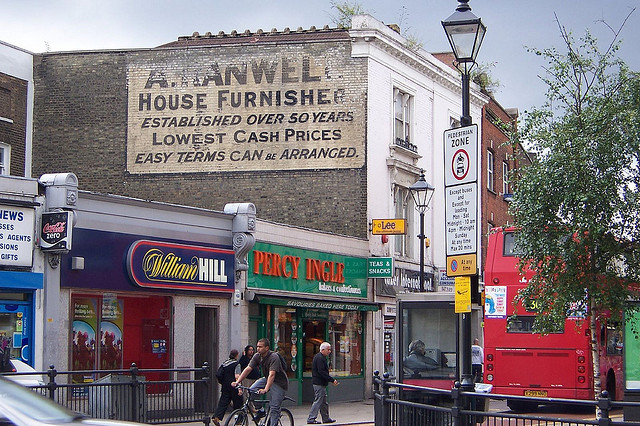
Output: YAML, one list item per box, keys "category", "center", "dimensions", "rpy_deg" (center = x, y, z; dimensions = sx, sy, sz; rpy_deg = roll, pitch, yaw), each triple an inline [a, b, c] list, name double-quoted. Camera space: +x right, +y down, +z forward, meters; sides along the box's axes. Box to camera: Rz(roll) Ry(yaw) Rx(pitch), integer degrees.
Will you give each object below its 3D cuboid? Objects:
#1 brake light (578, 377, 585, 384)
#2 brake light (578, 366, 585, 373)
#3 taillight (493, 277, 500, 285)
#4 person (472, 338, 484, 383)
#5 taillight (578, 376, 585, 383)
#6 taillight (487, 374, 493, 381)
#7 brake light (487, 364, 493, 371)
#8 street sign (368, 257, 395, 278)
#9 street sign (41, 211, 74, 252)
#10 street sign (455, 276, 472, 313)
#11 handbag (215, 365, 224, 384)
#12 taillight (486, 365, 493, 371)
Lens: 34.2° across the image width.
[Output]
- category: "brake light"
  center: [8.242, 5.292, 32.802]
  dimensions: [0.188, 0.201, 0.057]
  rpy_deg: [0, -2, 16]
- category: "brake light"
  center: [8.255, 4.968, 32.856]
  dimensions: [0.201, 0.207, 0.049]
  rpy_deg: [2, 0, 12]
- category: "taillight"
  center: [5.651, 2.186, 33.486]
  dimensions: [0.162, 0.169, 0.055]
  rpy_deg: [-19, -10, 22]
- category: "person"
  center: [5.772, 5.518, 38.139]
  dimensions: [0.385, 1.397, 1.605]
  rpy_deg: [-2, -13, 7]
- category: "taillight"
  center: [8.248, 5.273, 32.803]
  dimensions: [0.199, 0.213, 0.061]
  rpy_deg: [0, 0, 12]
- category: "taillight"
  center: [5.522, 5.375, 33.810]
  dimensions: [0.171, 0.185, 0.026]
  rpy_deg: [-6, -13, 22]
- category: "brake light"
  center: [5.544, 5.053, 33.875]
  dimensions: [0.158, 0.168, 0.088]
  rpy_deg: [-1, -3, 28]
- category: "street sign"
  center: [2.309, 2.105, 40.130]
  dimensions: [0.779, 0.688, 0.283]
  rpy_deg: [0, 0, 15]
- category: "street sign"
  center: [-7.489, 0.549, 29.519]
  dimensions: [1.077, 1.351, 0.139]
  rpy_deg: [-1, -7, 18]
- category: "street sign"
  center: [3.181, 1.836, 23.226]
  dimensions: [0.193, 0.827, 0.394]
  rpy_deg: [9, -15, -40]
- category: "handbag"
  center: [-2.842, 4.539, 29.040]
  dimensions: [0.157, 0.461, 0.340]
  rpy_deg: [1, 4, 13]
- category: "taillight"
  center: [5.519, 5.054, 33.889]
  dimensions: [0.149, 0.158, 0.088]
  rpy_deg: [-1, -3, 25]
